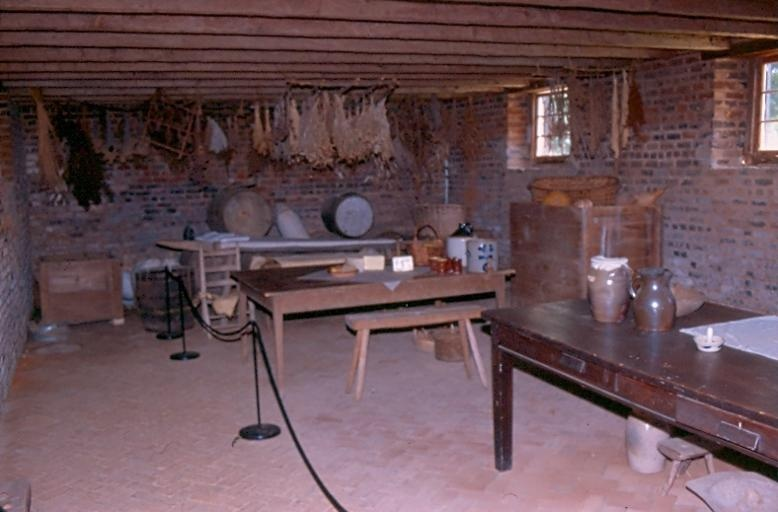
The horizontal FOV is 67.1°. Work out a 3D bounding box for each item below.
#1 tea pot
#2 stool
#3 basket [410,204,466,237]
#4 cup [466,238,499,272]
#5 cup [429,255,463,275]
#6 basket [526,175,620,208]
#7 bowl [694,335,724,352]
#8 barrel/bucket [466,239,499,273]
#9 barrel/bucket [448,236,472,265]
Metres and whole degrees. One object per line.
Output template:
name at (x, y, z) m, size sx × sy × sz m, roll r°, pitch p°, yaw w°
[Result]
tea pot at (1.768, 0.248, 4.259) m, size 0.677 × 0.477 × 0.396 m, roll 5°, pitch 12°, yaw 34°
stool at (0.263, 0.955, 6.036) m, size 1.496 × 0.880 × 0.444 m, roll -7°, pitch 12°, yaw -9°
basket at (0.816, -0.641, 9.827) m, size 0.751 × 0.525 × 0.750 m, roll 3°, pitch 6°, yaw 28°
cup at (0.995, -0.005, 6.244) m, size 0.354 × 0.353 × 0.339 m, roll 0°, pitch -3°, yaw 0°
cup at (0.603, 0.102, 6.257) m, size 0.285 × 0.111 × 0.172 m, roll 1°, pitch 2°, yaw -26°
basket at (2.508, -0.871, 7.912) m, size 1.177 × 0.424 × 0.550 m, roll -2°, pitch 12°, yaw 14°
bowl at (2.065, 0.565, 3.791) m, size 0.123 × 0.044 × 0.118 m, roll -1°, pitch 3°, yaw 0°
barrel/bucket at (0.987, -0.004, 6.244) m, size 0.349 × 0.354 × 0.348 m, roll 0°, pitch 3°, yaw 0°
barrel/bucket at (0.744, -0.065, 6.396) m, size 0.284 × 0.287 × 0.277 m, roll 1°, pitch 9°, yaw 0°
